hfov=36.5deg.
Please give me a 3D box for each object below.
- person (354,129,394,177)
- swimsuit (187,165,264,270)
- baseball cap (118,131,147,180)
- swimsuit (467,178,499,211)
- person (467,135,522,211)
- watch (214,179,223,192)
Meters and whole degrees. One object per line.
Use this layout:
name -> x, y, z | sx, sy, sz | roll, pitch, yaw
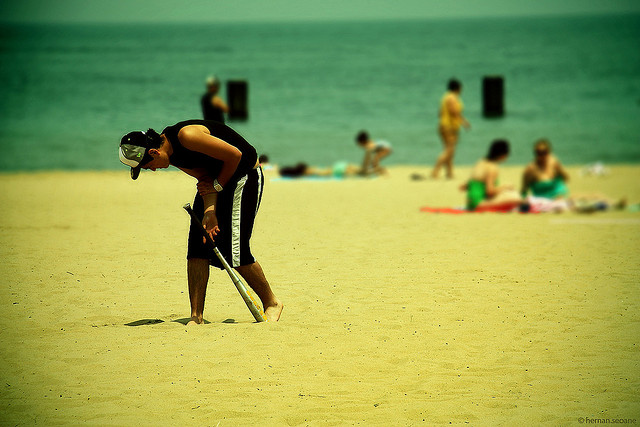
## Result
person -> 1.058, -1.184, 19.178 | 0.755, 0.910, 0.447 | 3, 7, 1
swimsuit -> -1.079, 0.038, 10.988 | 0.829, 1.145, 0.256 | 2, 7, -5
baseball cap -> -2.157, -0.644, 10.804 | 0.311, 0.548, 0.386 | -3, 15, -41
swimsuit -> 2.477, -0.285, 15.290 | 0.324, 0.504, 0.205 | 7, 8, 35
person -> 2.764, -0.583, 15.196 | 0.816, 1.141, 0.403 | 3, 7, 6
watch -> -1.149, -0.311, 10.822 | 0.046, 0.110, 0.086 | -37, 15, -8
